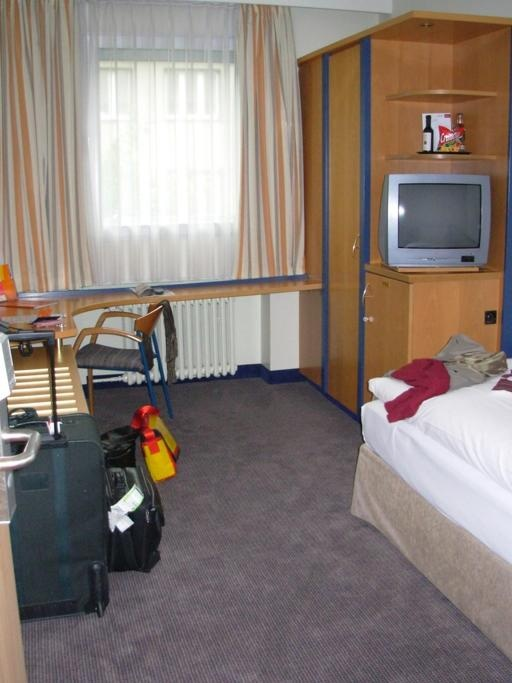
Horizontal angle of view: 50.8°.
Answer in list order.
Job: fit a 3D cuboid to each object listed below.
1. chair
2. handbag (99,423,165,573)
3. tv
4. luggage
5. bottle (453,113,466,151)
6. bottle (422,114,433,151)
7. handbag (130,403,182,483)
[{"bbox_3d":[-0.867,0.141,3.429,0.562,0.732,0.581,4,11,7],"label":"chair"},{"bbox_3d":[-0.475,0.638,2.042,0.221,0.573,0.204,-4,42,-18],"label":"handbag"},{"bbox_3d":[0.972,-0.647,3.183,0.739,0.699,0.441,0,16,0],"label":"tv"},{"bbox_3d":[-0.588,0.570,1.613,0.264,0.617,0.170,-5,8,-27],"label":"luggage"},{"bbox_3d":[1.199,-1.217,3.142,0.062,0.268,0.244,1,8,20],"label":"bottle"},{"bbox_3d":[1.005,-1.207,3.126,0.065,0.241,0.144,1,7,17],"label":"bottle"},{"bbox_3d":[-0.497,0.466,2.683,0.133,0.338,0.334,-17,14,-3],"label":"handbag"}]
